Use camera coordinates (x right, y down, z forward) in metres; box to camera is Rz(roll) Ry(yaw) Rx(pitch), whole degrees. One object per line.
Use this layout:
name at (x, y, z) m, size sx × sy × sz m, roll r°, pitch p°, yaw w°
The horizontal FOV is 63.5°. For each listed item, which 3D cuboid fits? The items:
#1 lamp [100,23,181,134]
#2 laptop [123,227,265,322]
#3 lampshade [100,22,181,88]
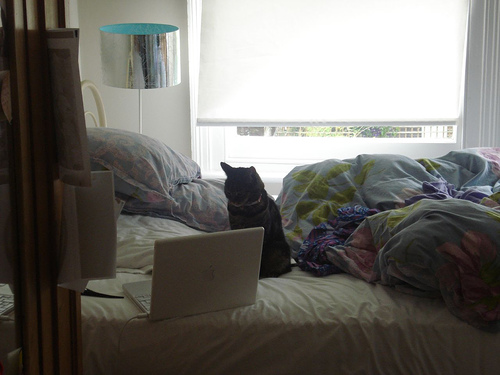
lamp at (-0.598, -0.776, 2.654) m, size 0.489 × 0.775 × 0.479 m, roll 0°, pitch 15°, yaw -3°
laptop at (-0.195, 0.250, 1.371) m, size 0.390 × 0.265 × 0.306 m, roll 0°, pitch 10°, yaw -29°
lampshade at (-0.621, -0.761, 2.420) m, size 0.478 × 0.299 × 0.471 m, roll 2°, pitch 15°, yaw 6°
